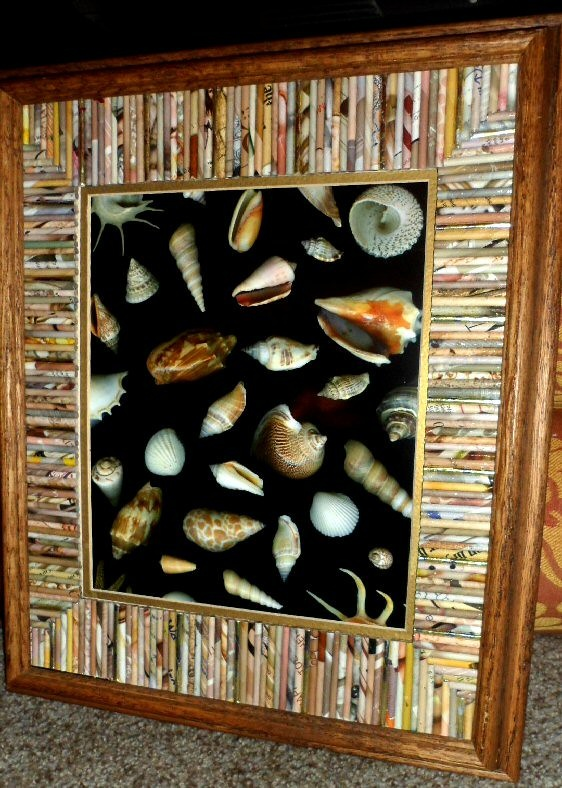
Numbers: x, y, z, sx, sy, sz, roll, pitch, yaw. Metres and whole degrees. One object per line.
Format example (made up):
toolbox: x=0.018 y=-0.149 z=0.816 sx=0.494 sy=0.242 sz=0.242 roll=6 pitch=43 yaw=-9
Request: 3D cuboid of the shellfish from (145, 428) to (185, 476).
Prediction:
shellfish: x=-0.132 y=0.068 z=0.930 sx=0.052 sy=0.014 sz=0.052 roll=-16 pitch=92 yaw=14

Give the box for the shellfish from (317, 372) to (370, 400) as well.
shellfish: x=0.068 y=-0.008 z=0.871 sx=0.049 sy=0.018 sz=0.022 roll=-15 pitch=80 yaw=23

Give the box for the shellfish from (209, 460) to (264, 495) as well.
shellfish: x=-0.051 y=0.099 z=0.935 sx=0.060 sy=0.022 sz=0.029 roll=28 pitch=69 yaw=7

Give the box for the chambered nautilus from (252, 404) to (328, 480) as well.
chambered nautilus: x=0.011 y=0.057 z=0.938 sx=0.088 sy=0.063 sz=0.077 roll=0 pitch=110 yaw=8

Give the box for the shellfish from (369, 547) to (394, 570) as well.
shellfish: x=0.110 y=0.180 z=0.873 sx=0.026 sy=0.008 sz=0.021 roll=26 pitch=105 yaw=12

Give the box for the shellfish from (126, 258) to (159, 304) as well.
shellfish: x=-0.157 y=-0.130 z=0.916 sx=0.038 sy=0.037 sz=0.033 roll=-15 pitch=57 yaw=20

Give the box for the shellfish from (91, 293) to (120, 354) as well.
shellfish: x=-0.208 y=-0.080 z=0.938 sx=0.030 sy=0.022 sz=0.056 roll=-24 pitch=91 yaw=-4

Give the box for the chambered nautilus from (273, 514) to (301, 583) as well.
chambered nautilus: x=0.008 y=0.174 z=0.896 sx=0.036 sy=0.026 sz=0.067 roll=1 pitch=91 yaw=14

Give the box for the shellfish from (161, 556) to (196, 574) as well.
shellfish: x=-0.120 y=0.199 z=0.930 sx=0.039 sy=0.018 sz=0.015 roll=1 pitch=69 yaw=9

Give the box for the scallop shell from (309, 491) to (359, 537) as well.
scallop shell: x=0.058 y=0.133 z=0.880 sx=0.047 sy=0.015 sz=0.050 roll=-40 pitch=89 yaw=9

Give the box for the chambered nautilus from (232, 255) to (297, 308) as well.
chambered nautilus: x=-0.017 y=-0.122 z=0.880 sx=0.071 sy=0.027 sz=0.038 roll=-24 pitch=80 yaw=17
